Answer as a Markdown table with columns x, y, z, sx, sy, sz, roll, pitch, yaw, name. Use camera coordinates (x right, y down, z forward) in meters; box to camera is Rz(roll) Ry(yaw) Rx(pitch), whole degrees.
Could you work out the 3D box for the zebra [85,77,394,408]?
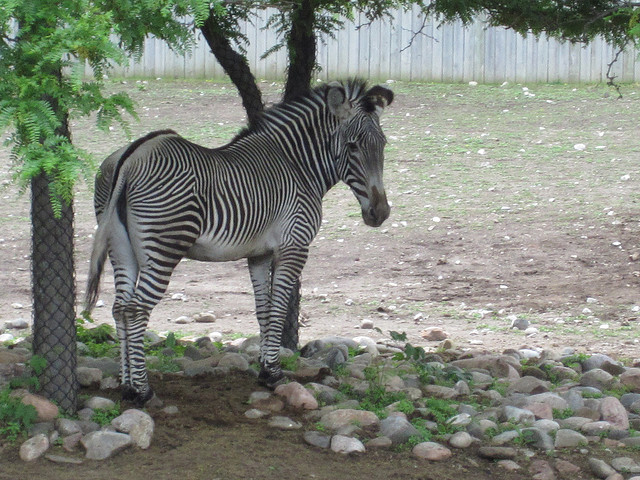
| x | y | z | sx | sy | sz | roll | pitch | yaw | name |
| --- | --- | --- | --- | --- | --- | --- | --- | --- | --- |
| -0.874 | -0.080 | 9.986 | 1.336 | 2.897 | 4.064 | 8 | 8 | 41 | zebra |
